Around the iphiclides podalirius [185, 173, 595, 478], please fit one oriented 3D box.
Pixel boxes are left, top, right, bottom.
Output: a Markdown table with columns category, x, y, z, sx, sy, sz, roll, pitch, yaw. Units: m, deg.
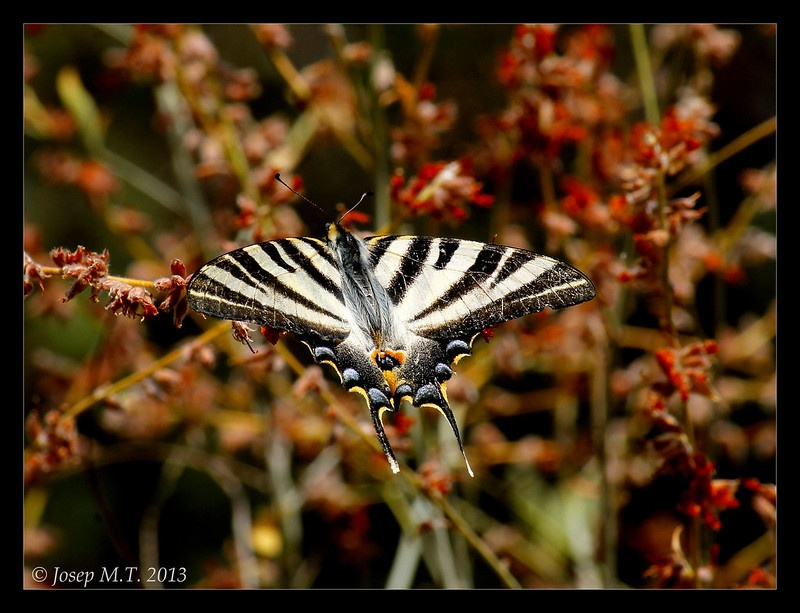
| category | x | y | z | sx | sy | sz | roll | pitch | yaw |
| --- | --- | --- | --- | --- | --- | --- | --- | --- | --- |
| iphiclides podalirius | -0.027 | 0.055 | 2.102 | 0.810 | 0.302 | 0.401 | -1 | -57 | -6 |
